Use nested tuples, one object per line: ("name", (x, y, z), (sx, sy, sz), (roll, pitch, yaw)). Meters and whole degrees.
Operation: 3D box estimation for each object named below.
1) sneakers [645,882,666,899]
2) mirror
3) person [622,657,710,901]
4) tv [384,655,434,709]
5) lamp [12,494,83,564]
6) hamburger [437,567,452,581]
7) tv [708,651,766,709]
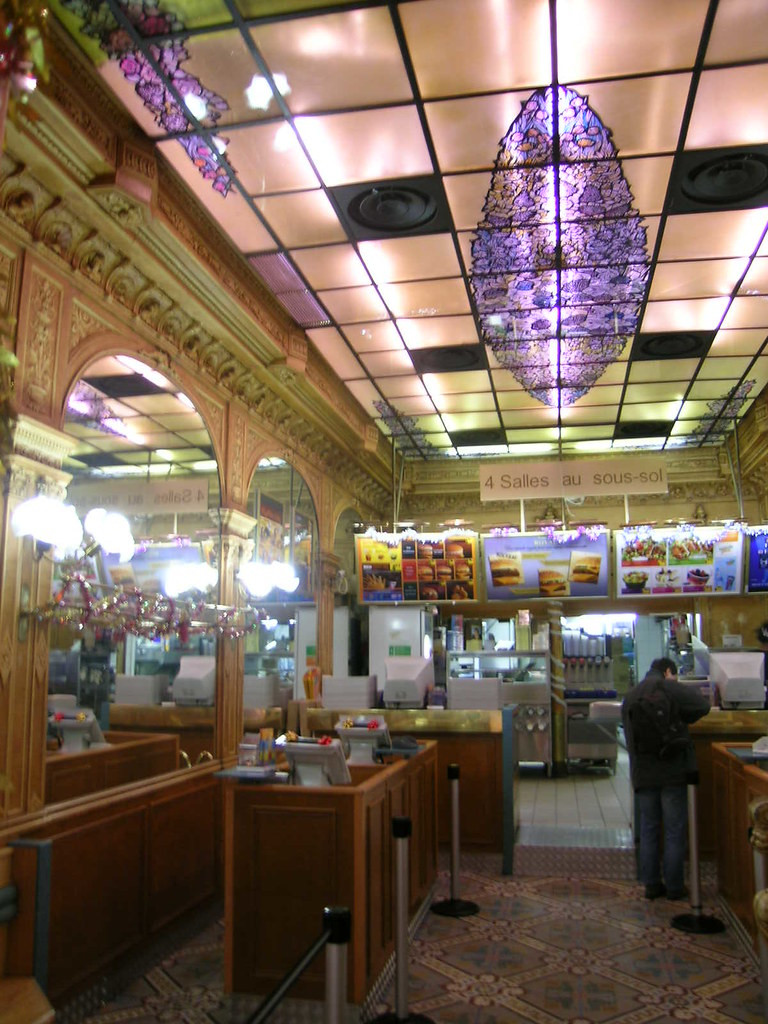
("sneakers", (2.098, 2.955, 5.700), (0.081, 0.097, 0.241), (-1, -5, 27))
("mirror", (-1.729, 0.522, 6.921), (0.232, 4.214, 4.196), (-1, -8, 20))
("person", (2.185, 2.096, 5.756), (0.629, 1.808, 0.605), (-9, -13, 34))
("tv", (0.256, 1.857, 7.940), (0.442, 0.405, 0.569), (-1, -23, 5))
("lamp", (-1.826, 0.077, 4.012), (0.313, 0.330, 0.329), (22, 1, -23))
("hamburger", (0.910, 0.951, 11.124), (0.199, 0.194, 0.173), (-1, -4, 7))
("tv", (3.512, 1.669, 7.286), (0.563, 0.644, 0.329), (-2, -26, 21))
